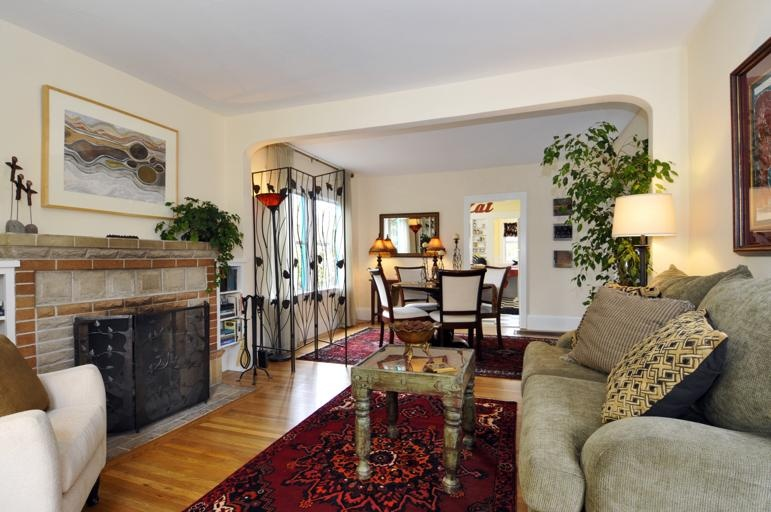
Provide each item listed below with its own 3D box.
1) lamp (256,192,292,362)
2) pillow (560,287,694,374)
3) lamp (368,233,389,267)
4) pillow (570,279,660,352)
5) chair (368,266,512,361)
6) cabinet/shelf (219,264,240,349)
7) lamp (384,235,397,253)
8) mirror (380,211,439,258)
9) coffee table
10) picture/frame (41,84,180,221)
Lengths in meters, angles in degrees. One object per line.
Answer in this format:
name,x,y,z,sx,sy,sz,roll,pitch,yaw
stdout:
lamp,-1.329,0.214,5.948,0.340,2.006,0.943,-4,12,-13
pillow,1.685,0.547,3.600,0.322,0.603,0.834,21,-6,-21
lamp,-0.106,-0.026,8.167,0.322,0.533,0.769,-1,12,-1
pillow,1.751,0.440,3.716,0.180,0.544,0.542,28,2,-13
chair,0.715,0.585,6.157,1.236,0.846,1.245,-1,-3,14
cabinet/shelf,-1.691,0.528,5.342,0.179,0.867,0.457,-2,12,-5
lamp,0.070,-0.198,8.283,0.218,0.233,0.209,-2,-4,-38
mirror,0.430,-0.349,8.248,0.785,0.561,0.027,0,0,21
coffee table,0.241,1.146,3.695,0.873,0.706,0.873,0,1,26
picture/frame,-2.513,-0.927,4.427,0.053,1.063,1.379,1,2,33
